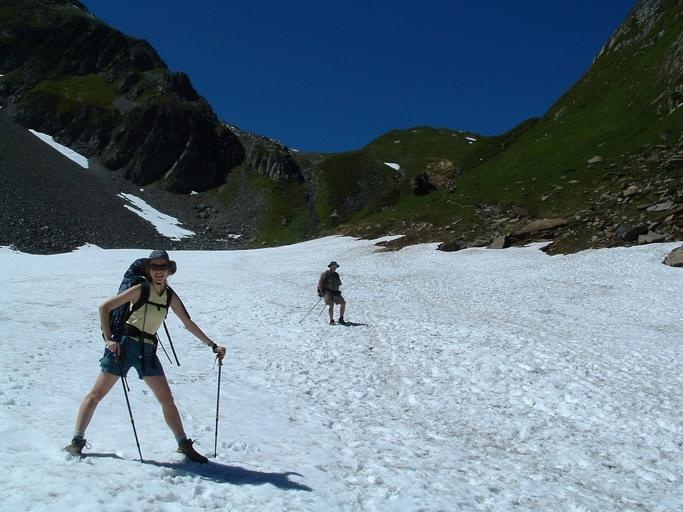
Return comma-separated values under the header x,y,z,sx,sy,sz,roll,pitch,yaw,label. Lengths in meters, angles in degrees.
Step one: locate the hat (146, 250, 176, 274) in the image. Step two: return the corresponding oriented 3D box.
x,y,z,sx,sy,sz,roll,pitch,yaw,label
-6.471,0.178,20.314,1.363,0.439,1.071,1,-18,-12,hat
